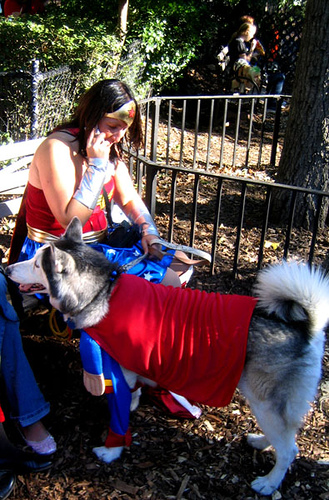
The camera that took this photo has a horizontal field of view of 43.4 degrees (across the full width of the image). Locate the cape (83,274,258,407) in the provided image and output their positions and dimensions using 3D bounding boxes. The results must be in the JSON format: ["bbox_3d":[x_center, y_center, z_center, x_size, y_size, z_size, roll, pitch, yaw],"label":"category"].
[{"bbox_3d":[0.025,0.438,1.944,0.730,0.221,0.525,10,40,14],"label":"cape"}]

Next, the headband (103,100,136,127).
[{"bbox_3d":[-0.248,-0.847,2.529,0.095,0.153,0.265,14,16,30],"label":"headband"}]

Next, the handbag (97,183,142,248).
[{"bbox_3d":[-0.306,-0.231,2.824,0.279,0.378,0.238,25,64,27],"label":"handbag"}]
